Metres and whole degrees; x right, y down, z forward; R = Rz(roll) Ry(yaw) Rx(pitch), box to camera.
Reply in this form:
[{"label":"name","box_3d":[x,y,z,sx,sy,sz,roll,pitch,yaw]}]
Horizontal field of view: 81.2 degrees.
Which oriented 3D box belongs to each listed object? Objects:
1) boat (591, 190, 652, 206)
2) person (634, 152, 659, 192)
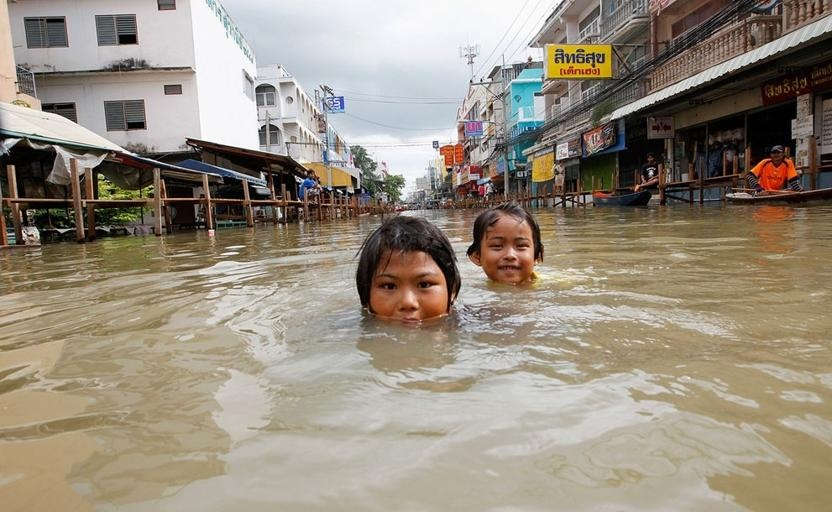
[{"label":"boat","box_3d":[7.155,-1.964,17.181,0.681,0.423,3.098,-1,6,-10]},{"label":"person","box_3d":[8.195,-2.945,17.080,0.692,1.222,2.730,4,15,25]}]
